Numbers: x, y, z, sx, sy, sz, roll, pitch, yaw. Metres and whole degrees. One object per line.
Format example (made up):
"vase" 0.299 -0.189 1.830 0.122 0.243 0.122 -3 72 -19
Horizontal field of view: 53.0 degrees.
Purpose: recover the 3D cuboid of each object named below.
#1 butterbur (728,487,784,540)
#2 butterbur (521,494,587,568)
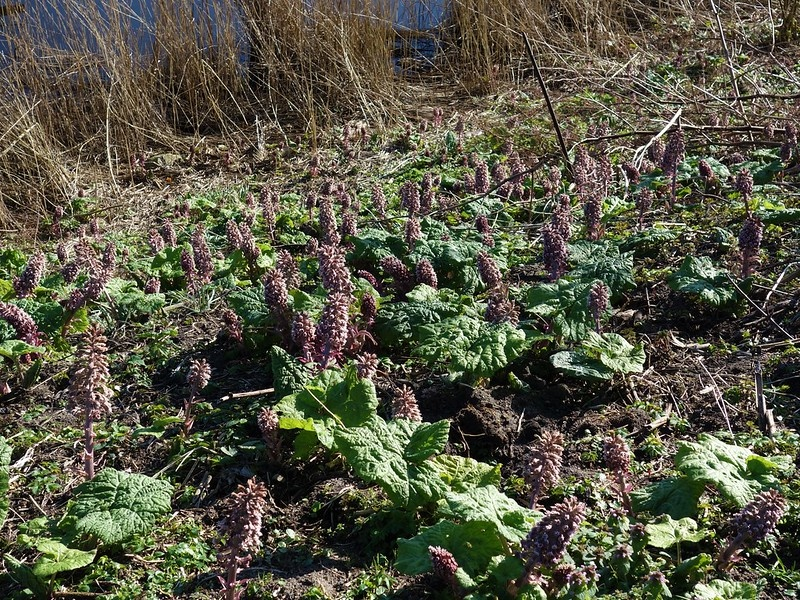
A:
"butterbur" 1.422 0.868 3.174 0.195 0.219 0.100 -22 30 -15
"butterbur" 0.577 0.879 3.021 0.248 0.254 0.108 -26 32 -23
